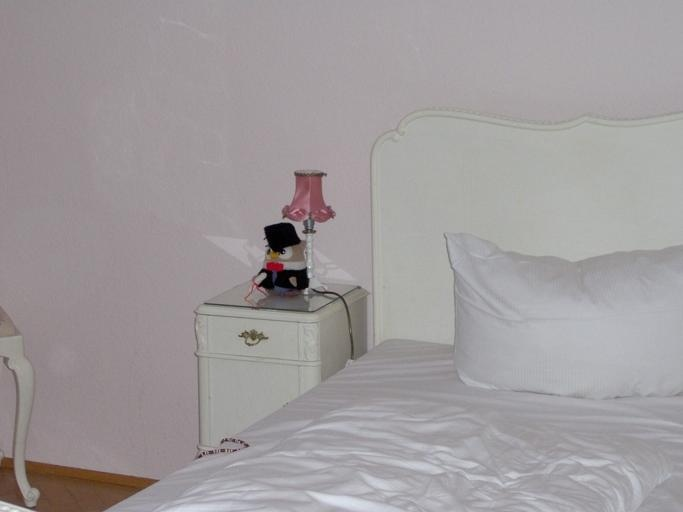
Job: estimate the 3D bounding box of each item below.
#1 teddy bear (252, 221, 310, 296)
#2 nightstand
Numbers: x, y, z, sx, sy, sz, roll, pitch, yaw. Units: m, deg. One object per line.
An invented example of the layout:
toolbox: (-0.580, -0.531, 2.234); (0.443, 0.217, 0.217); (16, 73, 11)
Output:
teddy bear: (-0.239, 0.003, 3.050); (0.229, 0.275, 0.186); (1, 2, 9)
nightstand: (-0.287, 0.291, 3.102); (0.657, 0.963, 0.561); (4, 9, 26)
